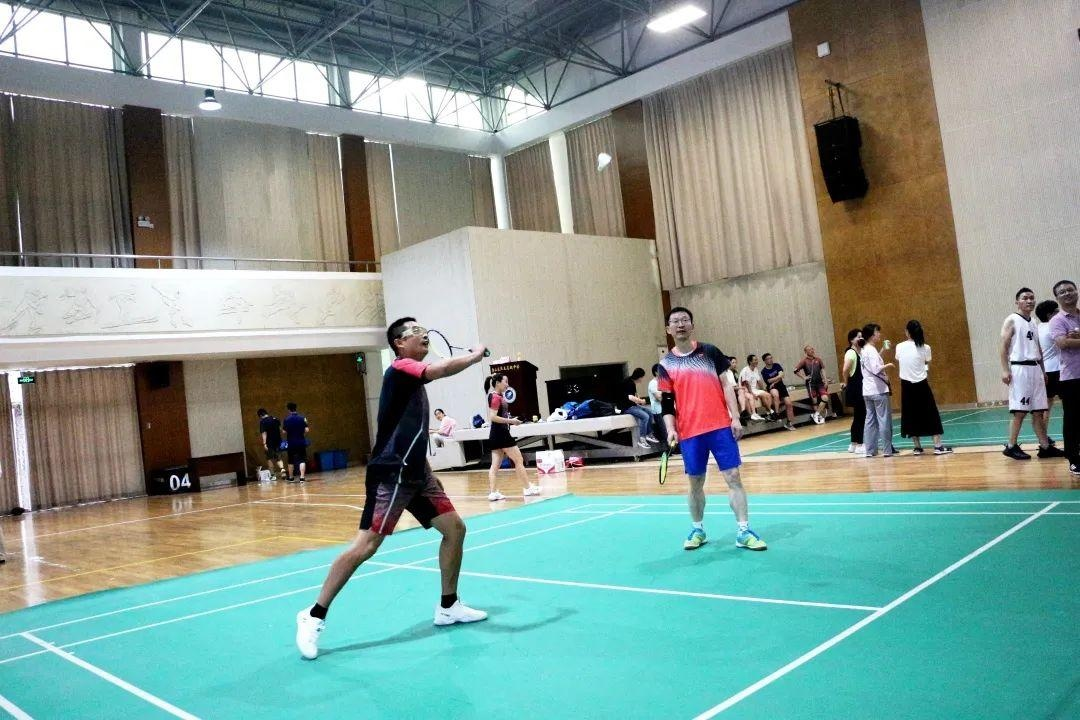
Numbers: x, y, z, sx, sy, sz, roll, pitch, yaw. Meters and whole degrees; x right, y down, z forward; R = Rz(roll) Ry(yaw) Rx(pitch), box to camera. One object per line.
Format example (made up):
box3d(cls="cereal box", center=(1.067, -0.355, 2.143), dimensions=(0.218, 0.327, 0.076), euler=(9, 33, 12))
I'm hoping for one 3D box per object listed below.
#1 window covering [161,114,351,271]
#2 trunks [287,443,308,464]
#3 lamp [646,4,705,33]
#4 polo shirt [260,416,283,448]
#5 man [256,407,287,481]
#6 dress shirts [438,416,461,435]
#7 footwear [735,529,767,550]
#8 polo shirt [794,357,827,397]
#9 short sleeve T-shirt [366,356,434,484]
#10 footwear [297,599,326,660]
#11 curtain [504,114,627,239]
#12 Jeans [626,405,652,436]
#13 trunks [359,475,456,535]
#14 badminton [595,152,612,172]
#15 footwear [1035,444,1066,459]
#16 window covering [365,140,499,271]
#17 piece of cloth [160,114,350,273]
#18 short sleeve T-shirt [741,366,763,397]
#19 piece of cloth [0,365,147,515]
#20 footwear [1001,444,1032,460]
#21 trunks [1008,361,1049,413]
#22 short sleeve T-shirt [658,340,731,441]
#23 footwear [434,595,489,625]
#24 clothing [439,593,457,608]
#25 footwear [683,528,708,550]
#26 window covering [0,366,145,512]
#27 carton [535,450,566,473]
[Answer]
box3d(cls="window covering", center=(-7.827, -4.453, 20.016), dimensions=(4.816, 4.246, 0.380), euler=(-2, -5, -38))
box3d(cls="trunks", center=(-6.017, 2.315, 18.463), dimensions=(0.563, 0.657, 0.600), euler=(-3, -1, -14))
box3d(cls="lamp", center=(3.073, -7.907, 17.066), dimensions=(1.102, 0.471, 0.613), euler=(-5, 2, 38))
box3d(cls="polo shirt", center=(-6.832, 1.845, 18.960), dimensions=(0.458, 0.862, 0.349), euler=(-7, 2, -26))
box3d(cls="man", center=(-6.853, 2.129, 19.143), dimensions=(0.741, 1.817, 0.682), euler=(-8, -3, 17))
box3d(cls="dress shirts", center=(-1.801, 1.300, 14.672), dimensions=(0.218, 0.297, 0.393), euler=(-13, -11, -7))
box3d(cls="footwear", center=(1.914, 1.627, 6.776), dimensions=(0.140, 0.134, 0.265), euler=(4, -8, -34))
box3d(cls="polo shirt", center=(6.359, 0.386, 17.474), dimensions=(0.831, 1.052, 0.474), euler=(-2, -7, -16))
box3d(cls="short sleeve T-shirt", center=(-1.068, 0.440, 5.637), dimensions=(0.535, 0.854, 0.299), euler=(-6, 2, -4))
box3d(cls="footwear", center=(-1.712, 2.004, 5.515), dimensions=(0.177, 0.381, 0.257), euler=(-7, 2, -26))
box3d(cls="curtain", center=(0.945, -5.753, 23.235), dimensions=(4.600, 4.778, 0.249), euler=(-8, -6, 36))
box3d(cls="Jeans", center=(1.866, 1.163, 14.016), dimensions=(0.470, 0.601, 0.518), euler=(-13, -11, 14))
box3d(cls="trunks", center=(-1.043, 1.056, 5.729), dimensions=(0.801, 0.537, 0.317), euler=(-3, -14, -40))
box3d(cls="badminton", center=(1.927, -6.051, 22.738), dimensions=(0.507, 0.528, 0.141), euler=(-16, -8, 35))
box3d(cls="footwear", center=(6.070, 1.095, 8.895), dimensions=(0.348, 0.175, 0.143), euler=(-2, -1, -3))
box3d(cls="window covering", center=(-3.365, -4.506, 21.659), dimensions=(4.793, 3.669, 0.241), euler=(-7, 3, -34))
box3d(cls="piece of cloth", center=(-7.839, -4.416, 19.968), dimensions=(4.829, 4.277, 0.362), euler=(-3, -4, -36))
box3d(cls="short sleeve T-shirt", center=(4.664, 0.473, 16.461), dimensions=(0.414, 0.532, 0.475), euler=(-19, 2, 23))
box3d(cls="piece of cloth", center=(-11.384, 1.916, 17.933), dimensions=(2.971, 3.232, 0.223), euler=(-8, 1, -23))
box3d(cls="footwear", center=(5.763, 1.123, 9.065), dimensions=(0.347, 0.178, 0.142), euler=(1, 2, 33))
box3d(cls="trunks", center=(5.632, 0.303, 8.598), dimensions=(0.454, 0.588, 0.291), euler=(-5, -34, 28))
box3d(cls="short sleeve T-shirt", center=(1.445, 0.254, 6.947), dimensions=(0.668, 0.853, 0.430), euler=(-8, 12, 9))
box3d(cls="footwear", center=(-0.638, 1.978, 5.895), dimensions=(0.445, 0.199, 0.170), euler=(0, -7, -10))
box3d(cls="clothing", center=(-0.717, 1.870, 5.793), dimensions=(0.111, 0.089, 0.114), euler=(-5, -1, 12))
box3d(cls="footwear", center=(1.468, 1.700, 7.072), dimensions=(0.116, 0.135, 0.288), euler=(-7, -12, 30))
box3d(cls="window covering", center=(-11.423, 1.904, 17.978), dimensions=(2.941, 3.249, 0.223), euler=(-8, 1, -21))
box3d(cls="carton", center=(0.194, 1.880, 13.592), dimensions=(0.422, 0.425, 0.420), euler=(-2, -12, 7))
